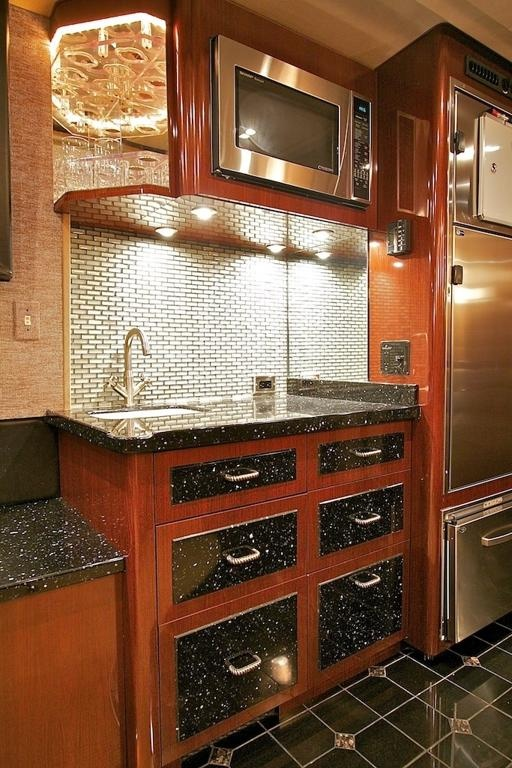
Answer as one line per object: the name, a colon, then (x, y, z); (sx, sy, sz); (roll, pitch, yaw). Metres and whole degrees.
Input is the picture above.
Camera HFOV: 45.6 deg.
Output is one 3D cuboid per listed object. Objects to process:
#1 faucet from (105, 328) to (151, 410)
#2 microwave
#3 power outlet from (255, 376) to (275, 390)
faucet: (-0.431, -0.053, 2.029); (0.161, 0.269, 0.307); (-2, 6, -10)
microwave: (0.100, -0.835, 1.939); (0.576, 0.359, 0.178); (0, -2, -43)
power outlet: (0.038, 0.000, 2.595); (0.006, 0.071, 0.120); (4, 8, 44)
